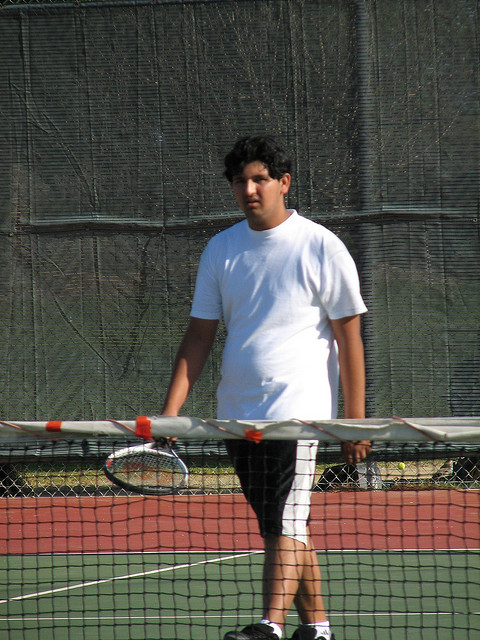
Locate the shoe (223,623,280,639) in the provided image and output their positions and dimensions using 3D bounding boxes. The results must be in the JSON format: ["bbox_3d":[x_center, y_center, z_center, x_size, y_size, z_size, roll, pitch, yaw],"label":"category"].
[{"bbox_3d":[0.047,1.188,4.009,0.217,0.078,0.072,10,-13,-6],"label":"shoe"}]

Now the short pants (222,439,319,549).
[{"bbox_3d":[0.084,0.620,4.287,0.303,0.474,0.389,-4,-16,-14],"label":"short pants"}]

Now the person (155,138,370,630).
[{"bbox_3d":[0.061,0.379,4.603,0.851,2.263,1.350,-2,2,-4],"label":"person"}]
